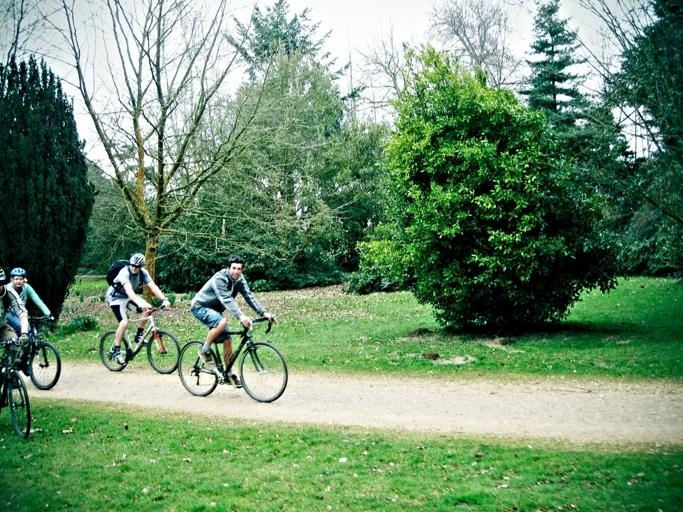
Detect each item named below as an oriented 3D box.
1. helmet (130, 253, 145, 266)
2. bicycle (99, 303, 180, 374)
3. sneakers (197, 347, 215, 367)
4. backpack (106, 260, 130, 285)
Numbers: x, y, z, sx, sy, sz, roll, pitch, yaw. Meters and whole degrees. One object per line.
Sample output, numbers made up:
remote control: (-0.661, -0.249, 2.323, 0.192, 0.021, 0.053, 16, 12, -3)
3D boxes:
helmet: (-4.693, 0.068, 17.313, 0.261, 0.325, 0.339, 19, -3, -14)
bicycle: (-4.646, 2.167, 18.338, 2.469, 1.621, 1.227, -4, -4, 22)
sneakers: (-2.790, 2.087, 15.467, 0.240, 0.433, 0.155, -36, 6, -15)
backpack: (-5.345, 0.373, 17.811, 0.640, 0.716, 0.499, 5, -3, -9)
